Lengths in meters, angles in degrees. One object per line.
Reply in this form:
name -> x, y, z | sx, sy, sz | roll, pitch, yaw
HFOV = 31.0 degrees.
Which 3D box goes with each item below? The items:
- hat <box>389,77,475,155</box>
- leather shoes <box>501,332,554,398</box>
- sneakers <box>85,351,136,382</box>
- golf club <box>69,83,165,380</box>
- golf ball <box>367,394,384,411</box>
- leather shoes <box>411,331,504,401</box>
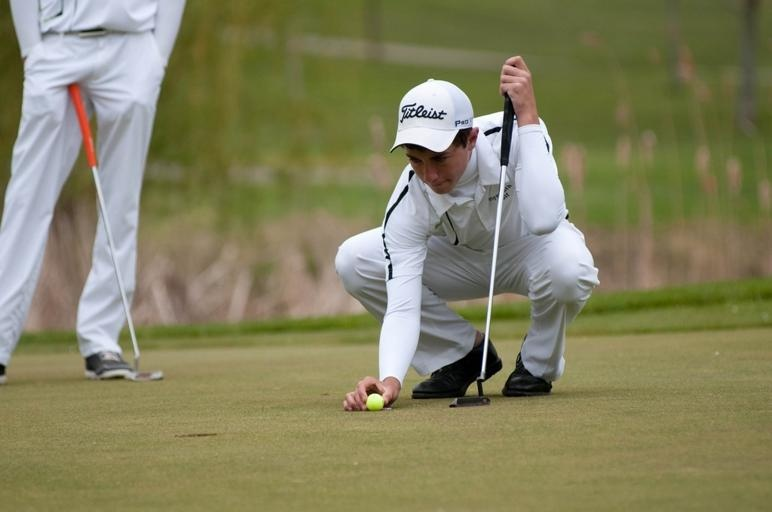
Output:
hat -> 0.226, -0.672, 6.752 | 0.290, 0.238, 0.428 | 3, 16, 24
leather shoes -> 0.698, 0.638, 7.043 | 0.255, 0.241, 0.144 | -2, -4, -4
sneakers -> -1.489, 0.605, 7.536 | 0.125, 0.138, 0.306 | -1, -3, -42
golf club -> -1.560, -0.185, 7.688 | 0.369, 1.987, 0.181 | -13, -3, 5
golf ball -> -0.043, 0.701, 6.612 | 0.073, 0.072, 0.072 | 19, -30, 11
leather shoes -> 0.350, 0.592, 7.202 | 0.561, 0.252, 0.204 | -26, 15, -14
